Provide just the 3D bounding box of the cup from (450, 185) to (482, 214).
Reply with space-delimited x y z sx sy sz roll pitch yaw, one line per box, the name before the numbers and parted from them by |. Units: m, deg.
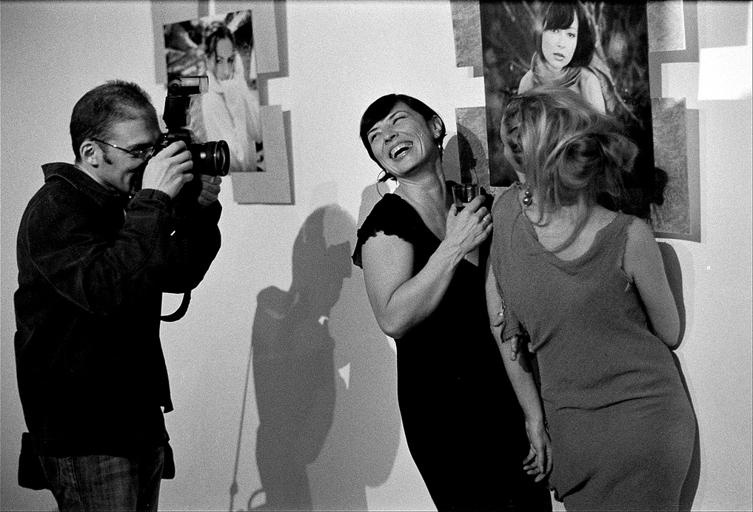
cup | 0.307 -0.193 2.526 0.088 0.105 0.092 -1 -2 0
